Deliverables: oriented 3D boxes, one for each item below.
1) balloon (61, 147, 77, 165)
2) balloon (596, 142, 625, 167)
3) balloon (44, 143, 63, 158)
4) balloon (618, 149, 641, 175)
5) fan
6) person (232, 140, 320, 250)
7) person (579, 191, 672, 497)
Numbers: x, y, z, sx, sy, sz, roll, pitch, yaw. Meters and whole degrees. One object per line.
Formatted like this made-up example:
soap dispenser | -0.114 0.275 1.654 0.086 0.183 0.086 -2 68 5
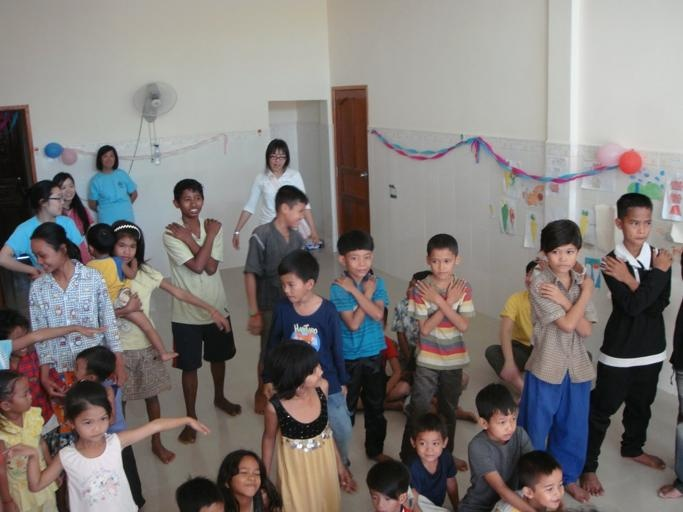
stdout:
balloon | -3.381 -1.246 6.524 0.186 0.215 0.102 -9 10 -28
balloon | 2.120 -0.790 4.173 0.176 0.143 0.144 9 51 4
balloon | -3.529 -1.302 6.417 0.174 0.195 0.102 5 -3 -14
balloon | 2.224 -0.726 4.040 0.169 0.195 0.150 2 10 34
fan | -2.447 -1.683 6.780 0.628 1.046 0.378 -8 9 -26
person | -0.736 -0.353 5.619 0.850 1.836 0.461 -4 33 -19
person | 1.703 0.499 3.181 0.675 1.736 0.303 -8 9 -27
